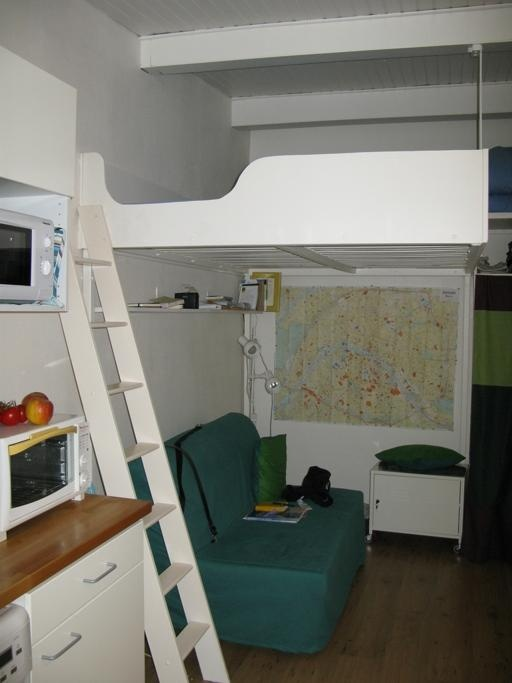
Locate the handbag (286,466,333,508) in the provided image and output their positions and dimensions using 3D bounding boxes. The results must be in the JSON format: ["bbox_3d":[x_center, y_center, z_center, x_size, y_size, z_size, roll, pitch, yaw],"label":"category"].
[{"bbox_3d":[0.387,1.026,3.883,0.208,0.081,0.215,6,22,23],"label":"handbag"}]

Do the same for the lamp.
[{"bbox_3d":[0.019,0.256,4.767,0.328,1.017,0.639,1,-1,0],"label":"lamp"}]

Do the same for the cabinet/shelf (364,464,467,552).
[{"bbox_3d":[1.225,1.111,4.309,0.750,0.664,0.499,2,-3,15],"label":"cabinet/shelf"}]

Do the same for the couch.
[{"bbox_3d":[0.046,1.028,3.261,0.970,0.995,1.283,0,-1,18],"label":"couch"}]

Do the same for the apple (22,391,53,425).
[{"bbox_3d":[-0.694,0.214,1.781,0.092,0.102,0.092,2,-2,-35],"label":"apple"}]

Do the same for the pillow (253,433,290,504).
[{"bbox_3d":[0.098,0.906,3.900,0.139,0.450,0.416,-2,-9,24],"label":"pillow"}]

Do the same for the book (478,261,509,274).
[{"bbox_3d":[1.754,-0.542,4.145,0.164,0.065,0.113,0,10,11],"label":"book"}]
